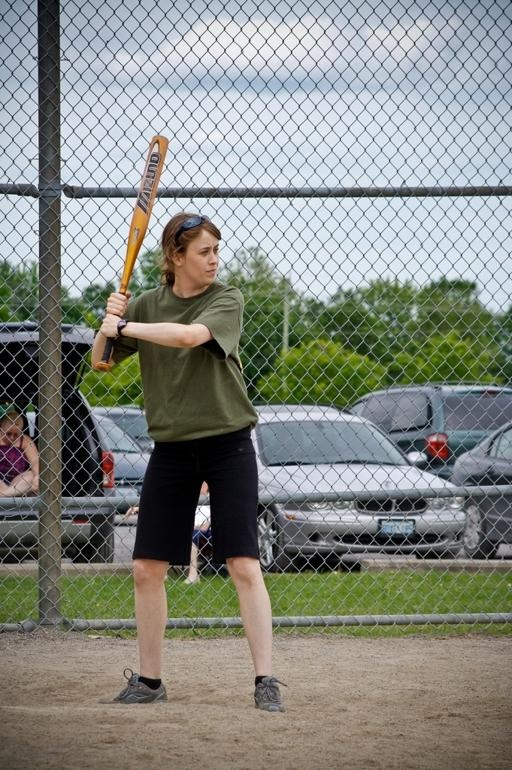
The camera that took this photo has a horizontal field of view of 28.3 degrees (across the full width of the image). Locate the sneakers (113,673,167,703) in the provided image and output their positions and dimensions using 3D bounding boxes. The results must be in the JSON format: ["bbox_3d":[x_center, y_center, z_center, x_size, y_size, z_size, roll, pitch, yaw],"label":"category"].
[{"bbox_3d":[-0.402,1.083,3.624,0.227,0.087,0.073,1,-6,-9],"label":"sneakers"}]

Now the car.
[{"bbox_3d":[-0.120,0.403,6.619,3.758,1.167,1.576,0,-4,1],"label":"car"}]

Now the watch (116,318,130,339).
[{"bbox_3d":[-0.463,-0.198,3.556,0.046,0.062,0.056,9,-43,11],"label":"watch"}]

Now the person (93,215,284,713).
[{"bbox_3d":[-0.250,0.247,3.630,0.707,1.749,0.460,1,-2,0],"label":"person"}]

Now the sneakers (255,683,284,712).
[{"bbox_3d":[0.044,1.068,3.532,0.104,0.106,0.132,1,-2,1],"label":"sneakers"}]
